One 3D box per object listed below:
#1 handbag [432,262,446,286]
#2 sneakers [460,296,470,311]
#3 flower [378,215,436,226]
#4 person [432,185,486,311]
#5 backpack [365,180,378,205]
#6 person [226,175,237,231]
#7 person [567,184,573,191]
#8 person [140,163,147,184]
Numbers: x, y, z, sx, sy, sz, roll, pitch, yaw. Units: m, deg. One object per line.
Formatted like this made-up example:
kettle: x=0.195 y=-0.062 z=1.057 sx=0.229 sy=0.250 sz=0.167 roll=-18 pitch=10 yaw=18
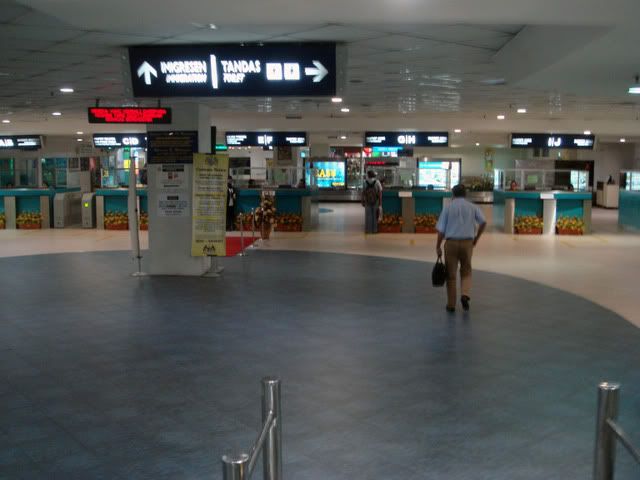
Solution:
handbag: x=1.814 y=0.507 z=7.423 sx=0.209 sy=0.415 sz=0.437 roll=1 pitch=8 yaw=14
sneakers: x=2.203 y=0.964 z=7.417 sx=0.104 sy=0.295 sz=0.128 roll=0 pitch=51 yaw=8
flower: x=3.063 y=-0.697 z=17.003 sx=1.231 sy=0.401 sz=0.750 roll=1 pitch=2 yaw=3
person: x=2.112 y=0.128 z=7.396 sx=0.703 sy=1.898 sz=0.494 roll=0 pitch=7 yaw=9
backpack: x=1.715 y=-1.553 z=16.291 sx=0.478 sy=0.810 sz=0.337 roll=0 pitch=7 yaw=6
person: x=-2.916 y=-1.231 z=16.298 sx=0.358 sy=1.768 sz=1.385 roll=-2 pitch=7 yaw=-10
person: x=8.942 y=-1.896 z=17.501 sx=0.189 sy=0.207 sz=1.407 roll=3 pitch=9 yaw=26
person: x=-4.354 y=-1.626 z=12.128 sx=0.116 sy=0.483 sz=1.356 roll=-4 pitch=8 yaw=-21
